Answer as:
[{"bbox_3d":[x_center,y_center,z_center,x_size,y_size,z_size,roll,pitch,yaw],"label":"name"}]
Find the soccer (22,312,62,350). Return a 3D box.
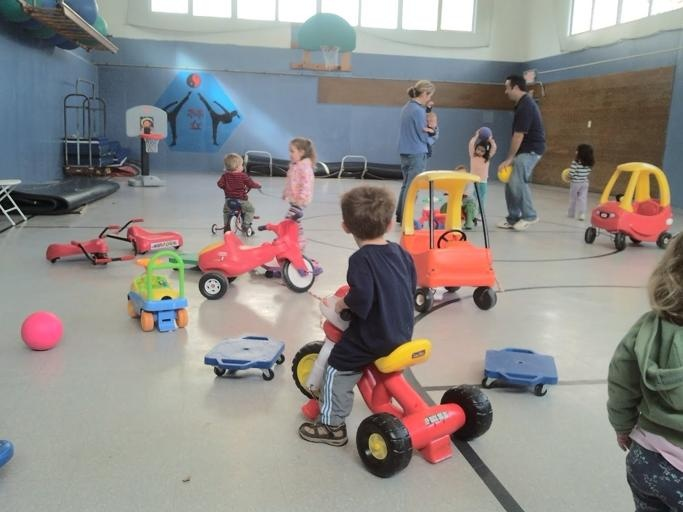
[{"bbox_3d":[-1.510,0.368,2.554,0.196,0.179,0.129,-4,17,-16],"label":"soccer"}]

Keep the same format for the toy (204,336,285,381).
[{"bbox_3d":[-0.459,0.475,2.473,0.340,0.109,0.350,4,16,12],"label":"toy"}]

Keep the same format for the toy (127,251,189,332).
[{"bbox_3d":[-1.087,0.222,3.031,0.222,0.426,0.414,1,7,-31],"label":"toy"}]

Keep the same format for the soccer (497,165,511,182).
[{"bbox_3d":[1.807,-0.946,5.737,0.152,0.162,0.187,-24,-17,16],"label":"soccer"}]

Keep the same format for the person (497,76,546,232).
[{"bbox_3d":[2.015,-1.142,5.740,0.458,1.713,0.602,7,17,21],"label":"person"}]

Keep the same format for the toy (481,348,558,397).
[{"bbox_3d":[0.840,0.528,2.433,0.316,0.095,0.373,6,17,20],"label":"toy"}]

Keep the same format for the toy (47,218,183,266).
[{"bbox_3d":[-1.865,-0.105,4.275,0.510,0.251,0.841,12,17,39],"label":"toy"}]

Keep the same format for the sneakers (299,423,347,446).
[{"bbox_3d":[-0.064,0.679,1.949,0.179,0.089,0.078,8,-4,4],"label":"sneakers"}]

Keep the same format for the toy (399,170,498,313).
[{"bbox_3d":[0.698,-0.140,3.699,0.630,1.099,0.994,0,4,-5],"label":"toy"}]

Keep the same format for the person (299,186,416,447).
[{"bbox_3d":[0.061,0.216,1.964,0.459,0.940,0.350,0,16,0],"label":"person"}]

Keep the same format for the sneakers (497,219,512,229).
[{"bbox_3d":[1.918,-0.375,6.054,0.185,0.083,0.078,4,7,20],"label":"sneakers"}]

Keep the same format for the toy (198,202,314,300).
[{"bbox_3d":[-0.592,0.023,3.657,0.826,0.599,0.441,-2,4,-12],"label":"toy"}]

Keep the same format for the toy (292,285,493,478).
[{"bbox_3d":[0.170,0.417,2.143,0.467,0.599,0.847,-4,11,-39],"label":"toy"}]
